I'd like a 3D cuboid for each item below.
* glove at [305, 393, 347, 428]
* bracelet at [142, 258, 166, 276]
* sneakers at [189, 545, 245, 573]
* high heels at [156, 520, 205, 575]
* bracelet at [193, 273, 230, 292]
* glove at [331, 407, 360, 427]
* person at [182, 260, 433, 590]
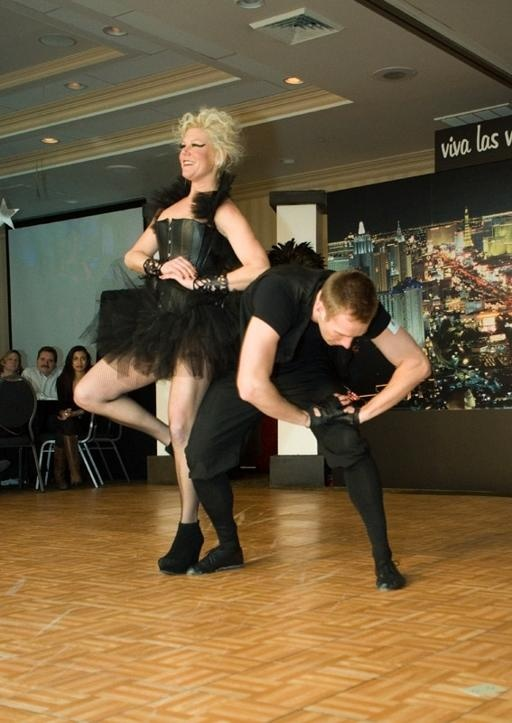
[{"bbox_3d":[0.222,0.154,1.813,0.121,0.084,0.047,-23,-12,-6],"label":"glove"},{"bbox_3d":[-0.386,-0.358,2.161,0.036,0.049,0.094,10,-2,-27],"label":"bracelet"},{"bbox_3d":[-0.136,0.736,2.155,0.224,0.074,0.073,0,-1,-32],"label":"sneakers"},{"bbox_3d":[-0.295,0.690,2.115,0.109,0.163,0.261,-5,-8,30],"label":"high heels"},{"bbox_3d":[-0.160,-0.281,2.079,0.117,0.058,0.038,-2,-8,9],"label":"bracelet"},{"bbox_3d":[0.274,0.166,1.751,0.072,0.052,0.026,-2,-15,8],"label":"glove"},{"bbox_3d":[0.114,0.237,1.898,0.766,1.100,0.555,-1,5,37],"label":"person"}]
